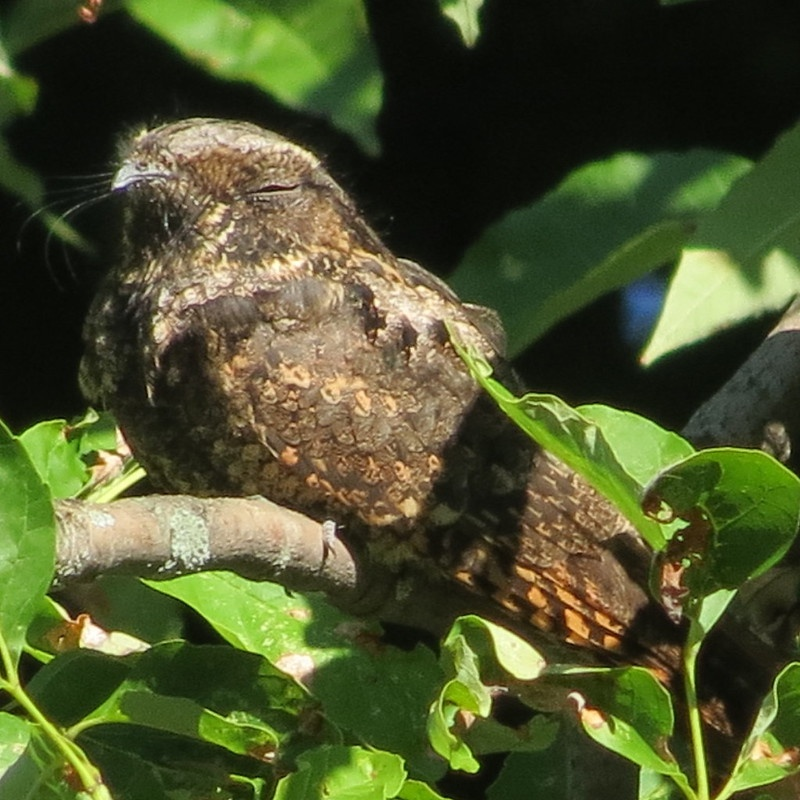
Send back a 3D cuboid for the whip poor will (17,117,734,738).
[{"bbox_3d":[-0.054,0.013,1.867,0.963,0.214,0.438,43,73,14],"label":"whip poor will"}]
